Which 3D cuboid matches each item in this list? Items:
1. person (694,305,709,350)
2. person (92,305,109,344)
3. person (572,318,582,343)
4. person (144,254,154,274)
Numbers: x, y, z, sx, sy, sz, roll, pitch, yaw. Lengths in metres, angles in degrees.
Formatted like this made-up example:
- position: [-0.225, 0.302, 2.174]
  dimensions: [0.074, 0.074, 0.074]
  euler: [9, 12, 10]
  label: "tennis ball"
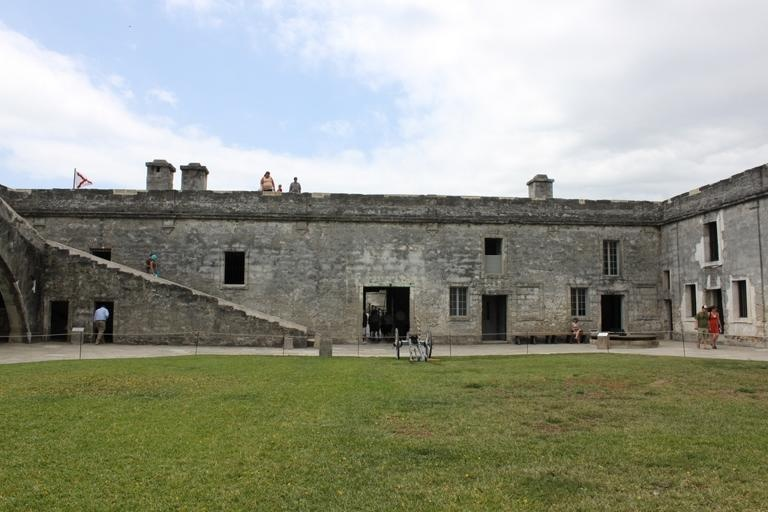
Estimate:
- position: [12.526, 2.796, 29.460]
  dimensions: [0.458, 1.688, 1.152]
  euler: [-2, -10, 23]
  label: "person"
- position: [-11.354, 2.759, 30.072]
  dimensions: [0.480, 1.527, 1.252]
  euler: [6, -10, -22]
  label: "person"
- position: [8.712, 3.351, 33.935]
  dimensions: [0.435, 1.132, 1.216]
  euler: [-1, -10, 14]
  label: "person"
- position: [-10.108, 0.338, 32.621]
  dimensions: [0.480, 0.866, 0.639]
  euler: [3, -10, -10]
  label: "person"
